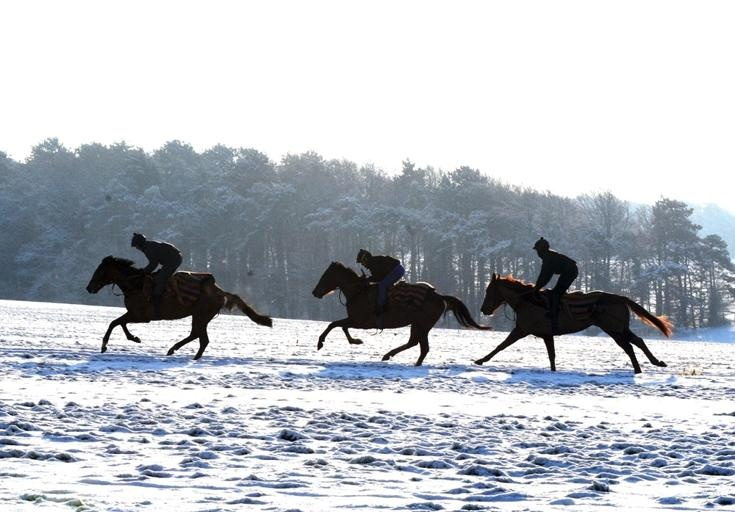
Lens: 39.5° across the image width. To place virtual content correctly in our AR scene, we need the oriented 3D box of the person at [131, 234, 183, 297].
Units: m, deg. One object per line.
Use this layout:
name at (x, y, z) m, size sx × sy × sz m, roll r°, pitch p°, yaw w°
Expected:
person at (-4.903, 0.141, 23.920) m, size 1.061 × 1.334 × 1.262 m, roll -1°, pitch 10°, yaw -13°

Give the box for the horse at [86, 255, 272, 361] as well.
horse at (-4.633, 1.167, 23.794) m, size 3.762 × 2.088 × 1.249 m, roll 2°, pitch 10°, yaw 0°

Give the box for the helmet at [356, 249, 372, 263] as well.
helmet at (-0.045, -0.009, 25.085) m, size 0.406 × 0.346 × 0.268 m, roll -7°, pitch 12°, yaw -9°
